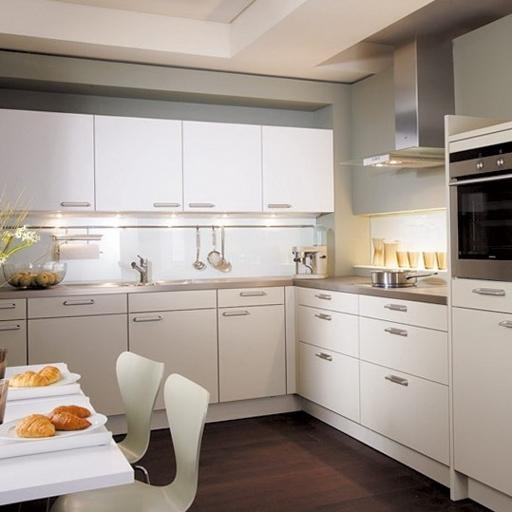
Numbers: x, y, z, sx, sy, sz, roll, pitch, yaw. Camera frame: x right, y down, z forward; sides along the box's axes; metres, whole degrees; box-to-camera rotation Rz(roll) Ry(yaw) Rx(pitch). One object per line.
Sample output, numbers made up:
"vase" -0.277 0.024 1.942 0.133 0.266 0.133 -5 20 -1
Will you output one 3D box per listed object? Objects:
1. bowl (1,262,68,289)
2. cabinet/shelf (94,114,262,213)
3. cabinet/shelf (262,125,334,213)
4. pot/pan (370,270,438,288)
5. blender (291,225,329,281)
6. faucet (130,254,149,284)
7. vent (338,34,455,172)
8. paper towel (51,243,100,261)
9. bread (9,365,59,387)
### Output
"bowl" -1.523 0.132 2.941 0.326 0.132 0.321 -1 -2 0
"cabinet/shelf" -0.635 -0.674 3.499 1.314 0.751 0.423 -3 11 -22
"cabinet/shelf" 0.318 -0.720 3.832 0.699 0.723 0.486 -1 -1 -6
"pot/pan" 0.906 0.143 2.819 0.176 0.067 0.289 -2 3 -33
"blender" 0.487 -0.044 3.841 0.294 0.467 0.432 -2 -3 9
"faucet" -0.919 0.101 3.420 0.139 0.228 0.189 0 -3 -16
"vent" 0.761 -1.036 2.912 0.772 0.744 0.694 11 32 39
"paper towel" -1.378 -0.030 3.298 0.317 0.126 0.062 0 -3 -25
"bread" -0.684 0.382 1.378 0.140 0.042 0.169 -2 -2 22
